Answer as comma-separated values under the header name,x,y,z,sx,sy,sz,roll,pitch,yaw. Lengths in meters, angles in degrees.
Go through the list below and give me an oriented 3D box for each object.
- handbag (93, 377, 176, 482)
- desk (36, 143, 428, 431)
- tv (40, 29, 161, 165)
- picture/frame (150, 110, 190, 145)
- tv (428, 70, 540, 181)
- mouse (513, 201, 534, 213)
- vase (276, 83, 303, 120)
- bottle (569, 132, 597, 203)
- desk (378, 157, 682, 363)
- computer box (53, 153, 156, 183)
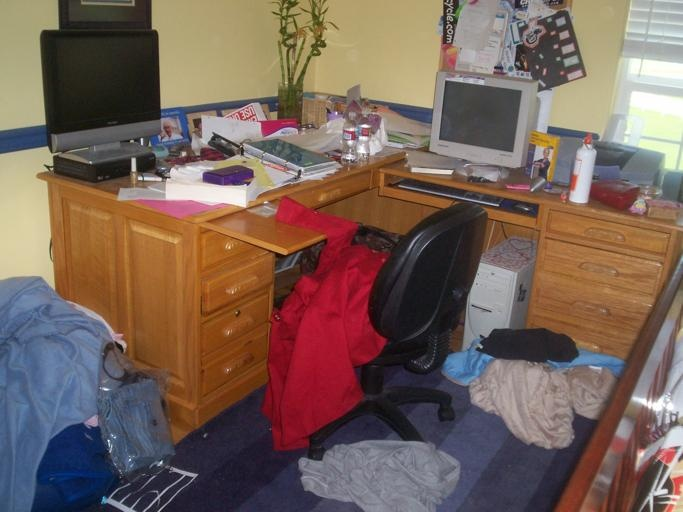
name,x,y,z,sx,sy,sz,roll,pitch,yaw
handbag,-0.789,0.633,2.085,0.232,0.324,0.169,-8,21,-29
desk,-0.639,0.149,2.549,1.078,0.791,1.371,19,29,33
tv,-1.004,-0.653,2.245,0.079,0.460,0.516,15,25,31
picture/frame,-0.855,-0.630,2.711,0.028,0.179,0.195,-6,9,36
tv,0.720,-0.647,2.799,0.461,0.398,0.253,18,35,24
mouse,0.883,-0.237,2.668,0.079,0.019,0.047,18,31,29
vase,-0.299,-0.879,3.165,0.137,0.209,0.241,0,18,-6
bottle,1.086,-0.387,2.483,0.082,0.305,0.075,2,18,-1
desk,0.839,0.028,2.392,0.837,0.571,0.302,16,24,20
computer box,-0.970,-0.363,2.256,0.388,0.106,0.151,-5,20,-22
